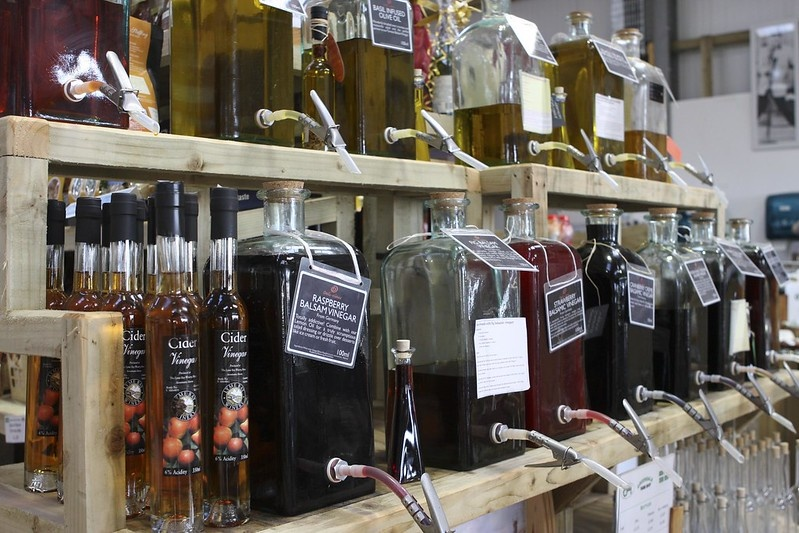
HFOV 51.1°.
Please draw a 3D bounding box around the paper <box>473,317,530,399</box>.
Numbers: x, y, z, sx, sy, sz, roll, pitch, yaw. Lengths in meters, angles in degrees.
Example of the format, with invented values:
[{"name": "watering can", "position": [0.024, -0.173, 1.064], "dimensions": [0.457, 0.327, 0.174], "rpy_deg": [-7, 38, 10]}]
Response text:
[{"name": "paper", "position": [0.222, 0.206, 1.862], "dimensions": [0.176, 0.181, 0.015], "rpy_deg": [-4, 1, -37]}]
